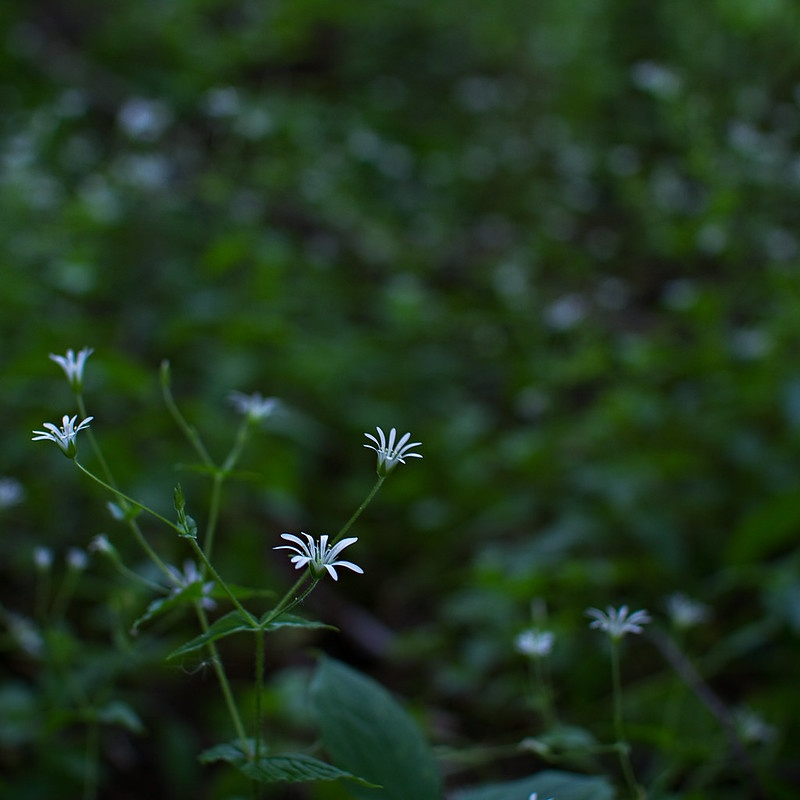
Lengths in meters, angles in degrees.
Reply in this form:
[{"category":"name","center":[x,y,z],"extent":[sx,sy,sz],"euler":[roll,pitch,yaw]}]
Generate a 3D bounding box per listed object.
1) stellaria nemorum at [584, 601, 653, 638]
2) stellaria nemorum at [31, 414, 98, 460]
[{"category":"stellaria nemorum","center":[0.339,0.338,1.456],"extent":[0.136,0.127,0.047],"euler":[-4,75,9]},{"category":"stellaria nemorum","center":[-0.567,0.059,1.565],"extent":[0.080,0.078,0.035],"euler":[-14,94,28]}]
